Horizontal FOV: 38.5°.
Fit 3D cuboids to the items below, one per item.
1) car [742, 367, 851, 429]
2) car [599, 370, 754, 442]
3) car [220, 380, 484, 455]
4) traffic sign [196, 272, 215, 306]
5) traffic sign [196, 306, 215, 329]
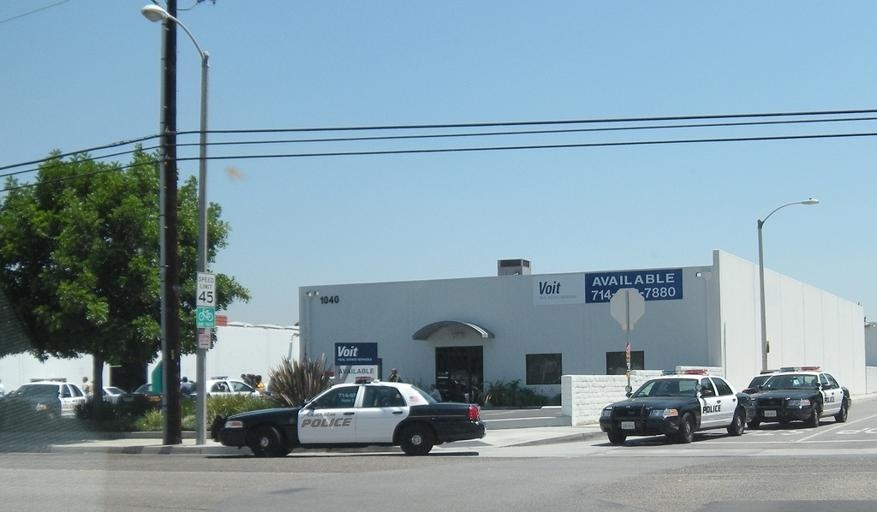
[{"bbox_3d":[14.649,5.809,51.751,2.954,2.470,6.131,-5,-11,33],"label":"car"},{"bbox_3d":[9.240,5.732,47.766,3.333,2.488,7.569,-5,-6,40],"label":"car"},{"bbox_3d":[-2.846,5.830,44.283,9.382,2.790,3.349,1,-8,6],"label":"car"},{"bbox_3d":[-8.411,1.195,45.514,0.190,1.237,0.829,-6,-11,40],"label":"traffic sign"},{"bbox_3d":[-8.410,2.185,45.429,0.793,0.790,0.079,2,-7,-36],"label":"traffic sign"}]
